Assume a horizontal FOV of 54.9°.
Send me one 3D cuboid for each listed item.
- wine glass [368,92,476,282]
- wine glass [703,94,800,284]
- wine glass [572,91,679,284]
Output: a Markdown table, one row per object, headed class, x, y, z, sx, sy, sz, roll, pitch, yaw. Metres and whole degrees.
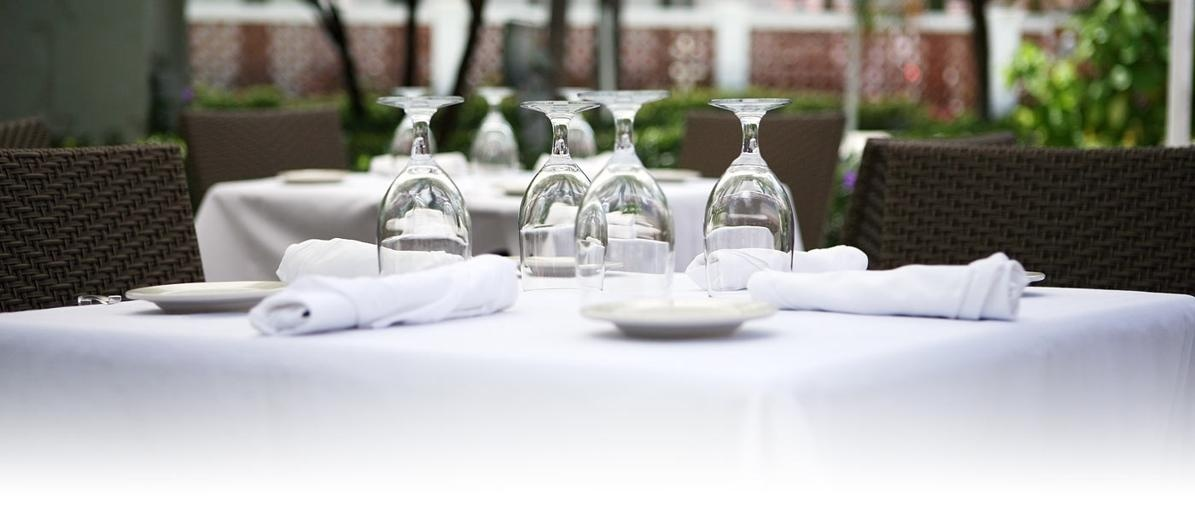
| class | x | y | z | sx | sy | sz | roll | pitch | yaw |
| --- | --- | --- | --- | --- | --- | --- | --- | --- | --- |
| wine glass | -0.593 | -0.240 | 3.877 | 0.317 | 0.603 | 0.334 | -1 | 8 | -7 |
| wine glass | 0.518 | -0.210 | 3.949 | 0.315 | 0.664 | 0.292 | 1 | 8 | 5 |
| wine glass | 0.092 | -0.230 | 3.856 | 0.312 | 0.653 | 0.219 | 0 | 8 | -1 |
